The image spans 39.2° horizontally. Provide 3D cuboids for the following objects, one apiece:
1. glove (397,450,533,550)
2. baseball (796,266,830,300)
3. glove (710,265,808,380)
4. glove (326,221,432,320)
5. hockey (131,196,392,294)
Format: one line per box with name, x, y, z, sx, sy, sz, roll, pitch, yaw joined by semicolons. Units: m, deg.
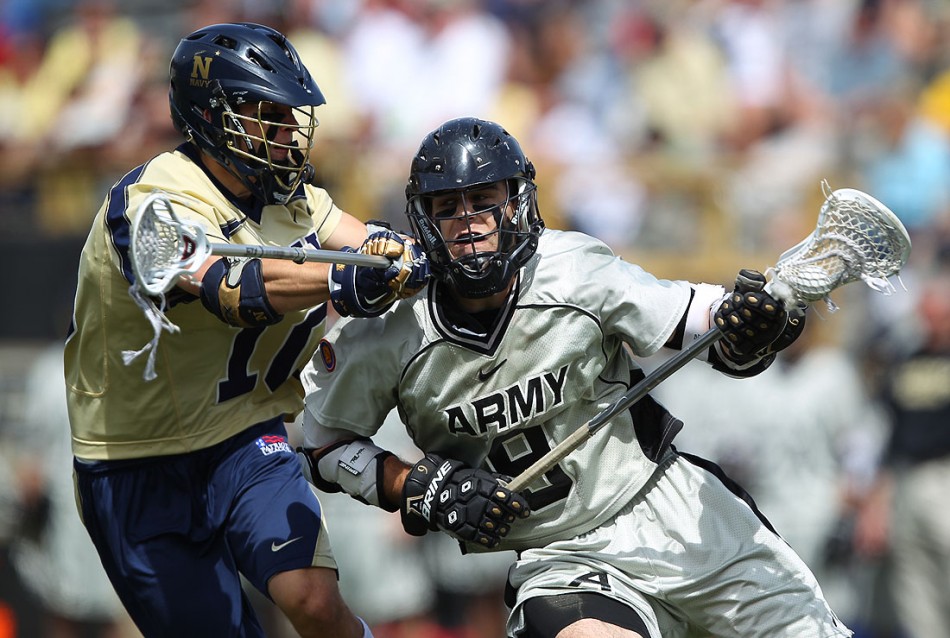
glove;-0.045;0.820;5.784;0.565;0.399;0.230;15;0;5
baseball;1.436;-0.147;5.597;0.170;0.143;0.052;14;0;-19
glove;1.213;0.023;5.712;0.448;0.352;0.235;-36;-18;33
glove;-0.405;-0.192;5.647;0.328;0.392;0.216;54;-11;31
hockey;-0.995;-0.217;5.572;0.880;0.424;0.206;15;0;-15
